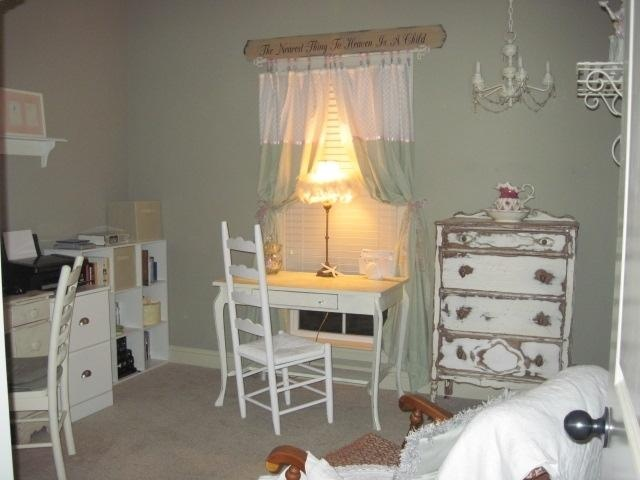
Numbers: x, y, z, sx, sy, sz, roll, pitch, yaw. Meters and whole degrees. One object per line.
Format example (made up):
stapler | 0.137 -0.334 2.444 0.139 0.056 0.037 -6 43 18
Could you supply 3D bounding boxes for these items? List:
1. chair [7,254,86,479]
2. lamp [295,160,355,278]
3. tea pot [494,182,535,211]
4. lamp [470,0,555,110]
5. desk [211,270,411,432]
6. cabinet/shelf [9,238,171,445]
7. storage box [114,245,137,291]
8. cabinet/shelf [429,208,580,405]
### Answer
chair | -1.726 0.819 3.402 0.502 1.388 0.677 -5 12 -25
lamp | 0.058 -0.158 4.668 0.497 1.002 0.517 5 -13 -16
tea pot | 1.497 -0.328 4.160 0.314 0.336 0.233 3 4 9
lamp | 1.375 -1.377 3.857 0.625 0.868 0.969 4 11 23
desk | -0.041 0.831 4.617 1.323 1.101 0.847 3 10 17
cabinet/shelf | -1.770 0.781 4.057 0.435 1.128 1.233 4 9 24
storage box | -1.754 0.254 4.789 0.195 0.381 0.383 0 1 14
cabinet/shelf | 1.359 0.494 4.081 0.955 1.547 0.542 3 13 17
